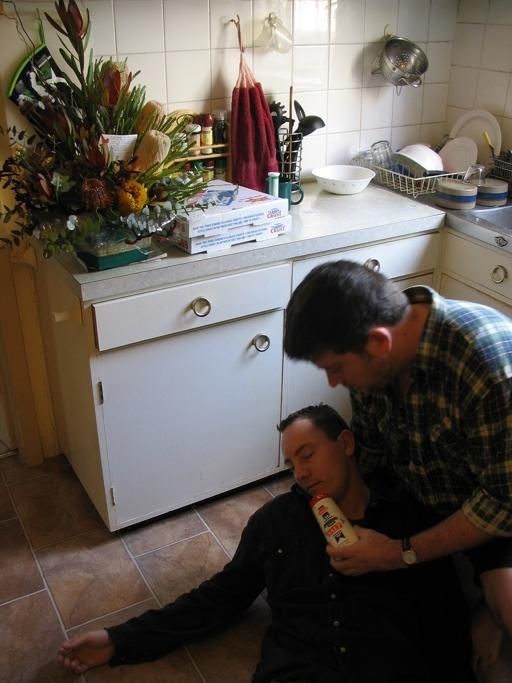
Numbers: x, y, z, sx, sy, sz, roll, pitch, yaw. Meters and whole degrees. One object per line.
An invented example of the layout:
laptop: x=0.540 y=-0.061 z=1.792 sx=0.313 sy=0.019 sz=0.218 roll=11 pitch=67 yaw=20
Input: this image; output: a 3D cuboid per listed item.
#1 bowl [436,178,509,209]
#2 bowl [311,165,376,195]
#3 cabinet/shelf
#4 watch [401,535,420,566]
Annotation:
bowl: x=0.793 y=-0.536 z=1.972 sx=0.222 sy=0.076 sz=0.129 roll=-1 pitch=27 yaw=-5
bowl: x=0.347 y=-0.644 z=2.164 sx=0.240 sy=0.085 sz=0.267 roll=13 pitch=29 yaw=23
cabinet/shelf: x=0.038 y=0.098 z=1.345 sx=0.910 sy=0.507 sz=0.288 roll=-18 pitch=39 yaw=-22
watch: x=0.285 y=0.394 z=1.009 sx=0.033 sy=0.052 sz=0.048 roll=-9 pitch=24 yaw=1
